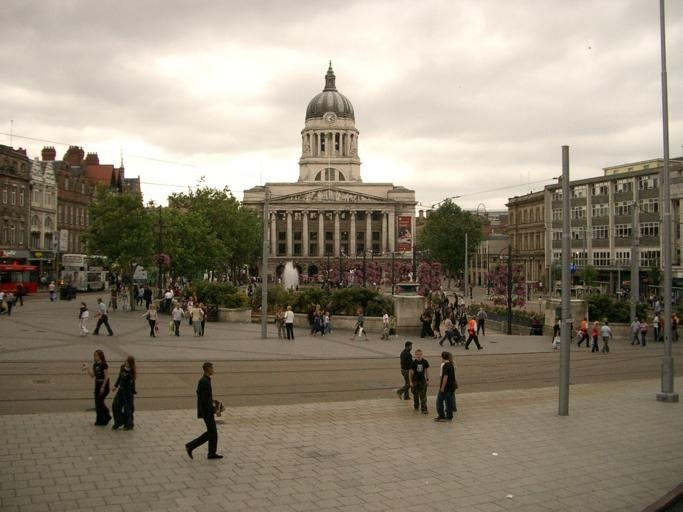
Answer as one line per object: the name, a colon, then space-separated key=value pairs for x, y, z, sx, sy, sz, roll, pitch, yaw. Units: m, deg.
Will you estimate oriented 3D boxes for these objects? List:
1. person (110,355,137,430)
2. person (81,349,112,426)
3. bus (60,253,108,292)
person: x=-6.356 y=4.117 z=26.018 sx=0.834 sy=2.178 sz=0.871 roll=-3 pitch=4 yaw=-43
person: x=-7.319 y=3.943 z=26.216 sx=0.585 sy=2.284 sz=1.238 roll=0 pitch=-2 yaw=-13
bus: x=-21.427 y=1.316 z=71.573 sx=2.988 sy=4.152 sz=8.420 roll=0 pitch=-3 yaw=4
